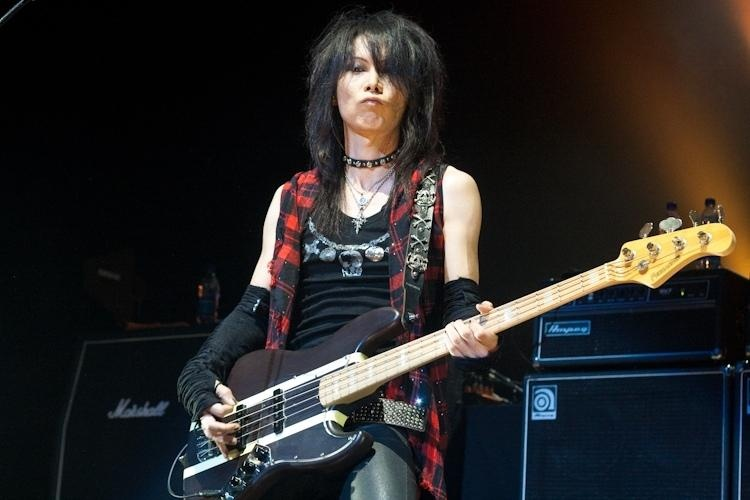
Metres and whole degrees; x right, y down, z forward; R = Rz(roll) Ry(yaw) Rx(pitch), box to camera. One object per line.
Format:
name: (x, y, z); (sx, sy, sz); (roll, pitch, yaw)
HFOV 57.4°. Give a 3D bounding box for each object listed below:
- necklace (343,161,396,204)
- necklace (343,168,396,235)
necklace: (-0.037, -0.275, 2.864); (0.126, 0.037, 0.225); (-5, 67, 25)
necklace: (-0.044, -0.238, 2.844); (0.171, 0.316, 0.061); (-1, -14, 21)
